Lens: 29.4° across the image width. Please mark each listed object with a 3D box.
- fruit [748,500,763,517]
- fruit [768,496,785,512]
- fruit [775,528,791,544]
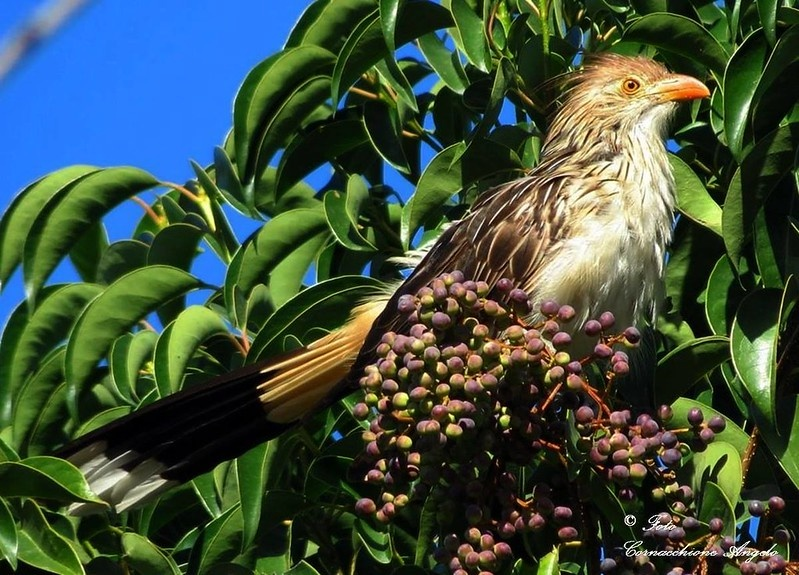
[{"bbox_3d":[1.233,0.761,5.254,0.048,0.065,0.052,-5,-9,27],"label":"fruit"},{"bbox_3d":[1.290,0.742,5.202,0.046,0.051,0.048,25,-1,-22],"label":"fruit"},{"bbox_3d":[1.322,0.853,5.234,0.041,0.056,0.044,3,1,9],"label":"fruit"}]
